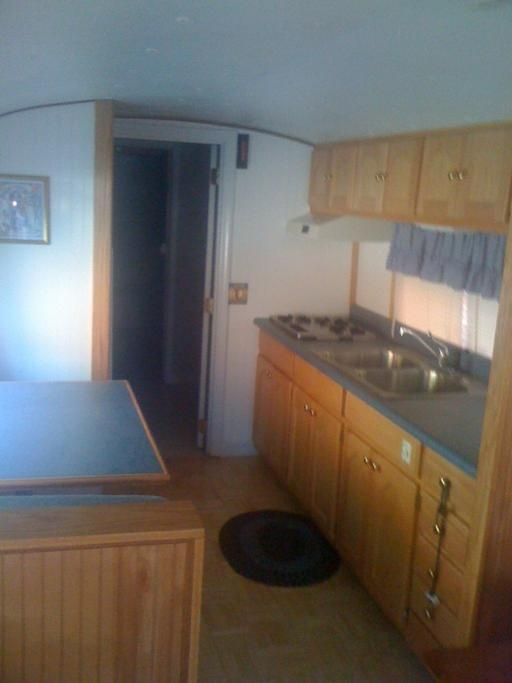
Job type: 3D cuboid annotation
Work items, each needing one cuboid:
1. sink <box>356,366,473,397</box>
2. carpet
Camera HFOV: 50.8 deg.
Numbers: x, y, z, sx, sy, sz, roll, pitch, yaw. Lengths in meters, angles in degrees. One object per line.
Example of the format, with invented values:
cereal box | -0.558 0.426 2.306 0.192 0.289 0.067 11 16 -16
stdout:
sink | 0.751 0.191 2.554 0.197 0.084 0.250 0 13 -6
carpet | 0.086 0.988 2.632 0.536 0.026 0.554 21 23 27
